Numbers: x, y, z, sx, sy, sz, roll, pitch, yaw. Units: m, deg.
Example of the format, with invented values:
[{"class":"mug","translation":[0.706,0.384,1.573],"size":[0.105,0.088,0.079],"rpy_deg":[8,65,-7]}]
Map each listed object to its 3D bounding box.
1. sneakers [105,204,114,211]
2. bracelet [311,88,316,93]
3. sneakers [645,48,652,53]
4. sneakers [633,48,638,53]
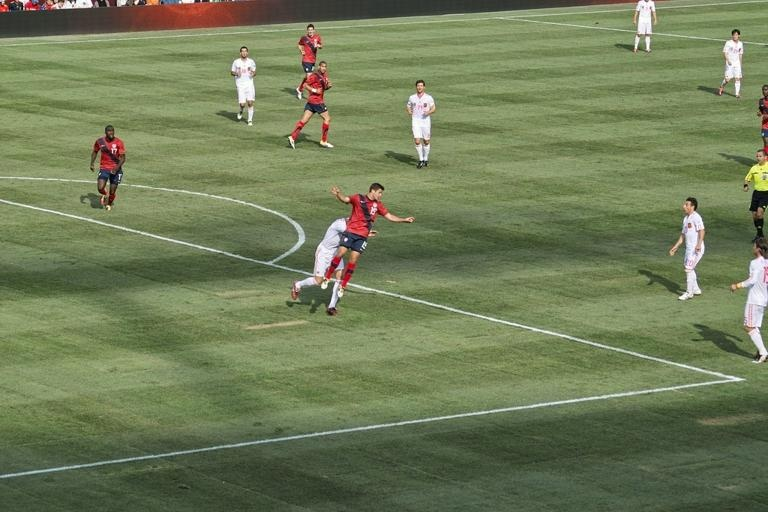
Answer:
[{"class":"sneakers","translation":[-7.503,-1.335,37.569],"size":[0.238,0.092,0.131],"rpy_deg":[0,-10,-4]},{"class":"bracelet","translation":[-2.162,-5.190,42.790],"size":[0.173,0.101,0.053],"rpy_deg":[-9,20,-26]},{"class":"sneakers","translation":[10.780,-8.468,56.182],"size":[0.309,0.122,0.172],"rpy_deg":[2,11,41]},{"class":"sneakers","translation":[10.288,-8.442,56.008],"size":[0.091,0.244,0.227],"rpy_deg":[-48,15,32]}]
